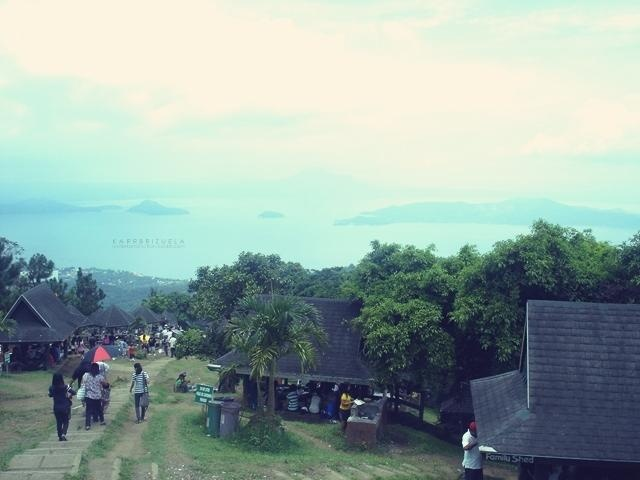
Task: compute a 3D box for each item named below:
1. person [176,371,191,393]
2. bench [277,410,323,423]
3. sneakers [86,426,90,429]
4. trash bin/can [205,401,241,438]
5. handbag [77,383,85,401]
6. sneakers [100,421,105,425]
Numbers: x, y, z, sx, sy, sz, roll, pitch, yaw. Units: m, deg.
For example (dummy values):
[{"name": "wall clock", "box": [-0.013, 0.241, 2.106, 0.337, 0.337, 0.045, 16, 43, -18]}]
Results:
[{"name": "person", "box": [-8.713, 9.049, 39.776, 0.931, 1.019, 1.651, 8, -4, -12]}, {"name": "bench", "box": [-1.100, 9.546, 34.033, 2.384, 0.469, 1.630, 6, -4, 11]}, {"name": "sneakers", "box": [-10.139, 8.167, 27.387, 0.160, 0.156, 0.089, 2, -7, -8]}, {"name": "trash bin/can", "box": [-4.553, 8.462, 29.677, 1.611, 1.561, 1.486, 3, -14, -7]}, {"name": "handbag", "box": [-10.508, 6.711, 27.589, 0.311, 0.698, 0.489, 8, -4, -17]}, {"name": "sneakers", "box": [-9.788, 8.194, 28.160, 0.237, 0.133, 0.137, -8, -5, 35]}]
